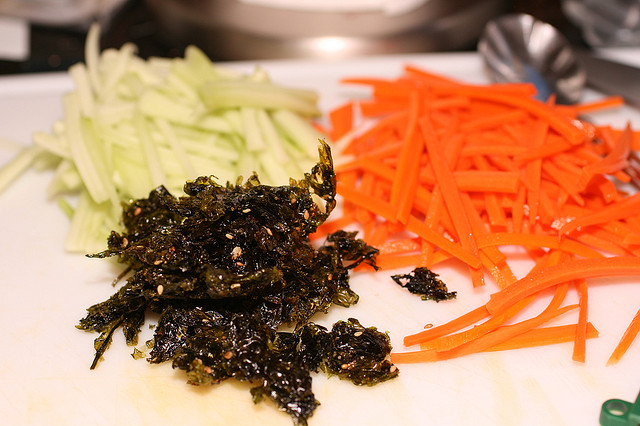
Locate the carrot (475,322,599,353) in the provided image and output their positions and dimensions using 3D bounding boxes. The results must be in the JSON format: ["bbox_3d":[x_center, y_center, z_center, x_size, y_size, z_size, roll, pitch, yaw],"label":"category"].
[{"bbox_3d":[0.894,0.513,2.360,0.105,0.513,0.066,-20,90,-51],"label":"carrot"}]

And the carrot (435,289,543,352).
[{"bbox_3d":[0.614,0.469,2.167,0.086,0.505,0.068,-7,77,-37],"label":"carrot"}]

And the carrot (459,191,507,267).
[{"bbox_3d":[0.703,0.051,2.593,0.112,0.068,0.458,-18,61,-7],"label":"carrot"}]

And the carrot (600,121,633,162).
[{"bbox_3d":[1.405,-0.330,2.686,0.040,0.033,0.419,33,51,23],"label":"carrot"}]

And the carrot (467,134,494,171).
[{"bbox_3d":[0.759,-0.280,2.627,0.035,0.143,0.147,-25,51,10],"label":"carrot"}]

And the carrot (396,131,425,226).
[{"bbox_3d":[0.399,-0.168,2.608,0.118,0.595,0.100,1,50,10],"label":"carrot"}]

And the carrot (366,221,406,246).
[{"bbox_3d":[0.305,0.091,2.661,0.109,0.046,0.154,34,96,29],"label":"carrot"}]
